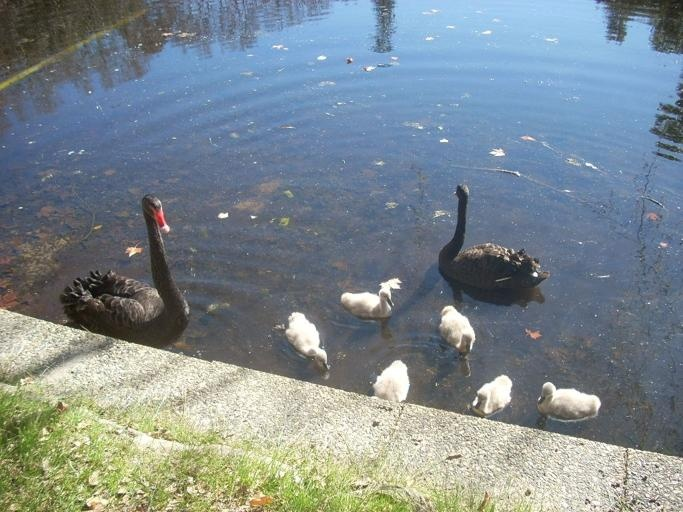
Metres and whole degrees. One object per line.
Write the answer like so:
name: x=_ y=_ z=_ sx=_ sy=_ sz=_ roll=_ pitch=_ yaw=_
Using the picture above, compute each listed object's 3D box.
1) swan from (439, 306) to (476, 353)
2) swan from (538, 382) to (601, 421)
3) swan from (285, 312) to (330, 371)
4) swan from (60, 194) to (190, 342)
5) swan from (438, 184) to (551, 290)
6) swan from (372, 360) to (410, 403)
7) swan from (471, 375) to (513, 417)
swan: x=1.867 y=1.195 z=11.009 sx=0.761 sy=0.485 sz=0.546 roll=27 pitch=43 yaw=36
swan: x=3.432 y=2.180 z=10.005 sx=0.911 sy=0.554 sz=0.294 roll=2 pitch=34 yaw=5
swan: x=-0.604 y=1.310 z=10.899 sx=0.960 sy=0.812 sz=0.736 roll=-3 pitch=23 yaw=-9
swan: x=-3.512 y=0.446 z=11.060 sx=2.082 sy=3.087 sz=1.165 roll=11 pitch=22 yaw=9
swan: x=2.767 y=-0.172 z=12.125 sx=1.721 sy=1.867 sz=1.775 roll=-1 pitch=27 yaw=-11
swan: x=0.756 y=1.956 z=10.319 sx=0.562 sy=0.419 sz=0.742 roll=7 pitch=34 yaw=12
swan: x=2.299 y=2.136 z=10.192 sx=0.465 sy=0.436 sz=0.643 roll=36 pitch=75 yaw=28
